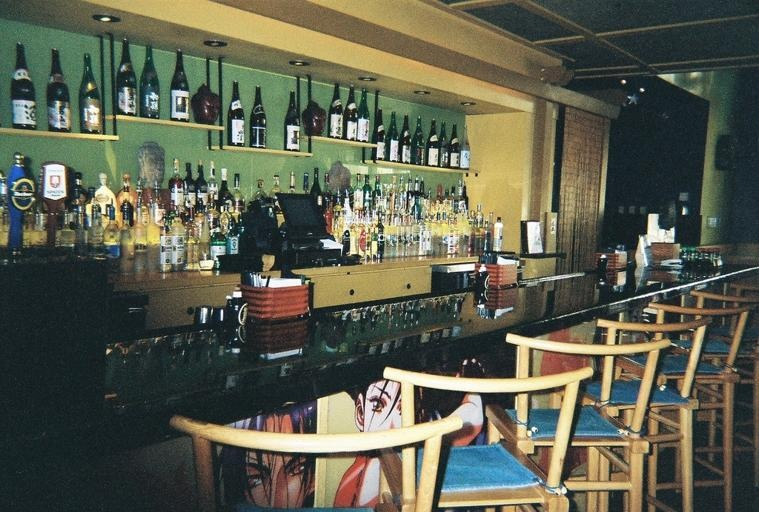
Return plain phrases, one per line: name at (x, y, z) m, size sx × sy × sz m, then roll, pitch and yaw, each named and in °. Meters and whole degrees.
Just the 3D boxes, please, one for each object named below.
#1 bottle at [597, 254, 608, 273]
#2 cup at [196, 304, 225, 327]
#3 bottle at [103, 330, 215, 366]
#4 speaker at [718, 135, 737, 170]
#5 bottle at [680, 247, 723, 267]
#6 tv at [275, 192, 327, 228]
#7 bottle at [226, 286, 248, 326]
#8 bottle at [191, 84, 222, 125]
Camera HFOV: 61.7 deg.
bottle at (1.738, 0.046, 4.929) m, size 0.083 × 0.135 × 0.092 m, roll -1°, pitch 6°, yaw 2°
cup at (-0.818, 0.285, 3.038) m, size 0.133 × 0.123 × 0.099 m, roll 12°, pitch -8°, yaw -42°
bottle at (-0.924, 0.381, 2.706) m, size 0.445 × 0.046 × 0.307 m, roll -3°, pitch 6°, yaw -21°
speaker at (4.927, -1.480, 9.020) m, size 0.177 × 0.492 × 0.297 m, roll 4°, pitch 8°, yaw 42°
bottle at (2.868, 0.004, 5.586) m, size 0.266 × 0.148 × 0.252 m, roll 0°, pitch 3°, yaw 0°
tv at (-0.585, -0.332, 4.638) m, size 0.364 × 0.256 × 0.183 m, roll -6°, pitch 8°, yaw -43°
bottle at (-0.666, 0.231, 2.942) m, size 0.090 × 0.158 × 0.160 m, roll -3°, pitch 6°, yaw -21°
bottle at (-1.217, -1.060, 4.435) m, size 0.203 × 0.289 × 0.131 m, roll -3°, pitch 6°, yaw -16°
